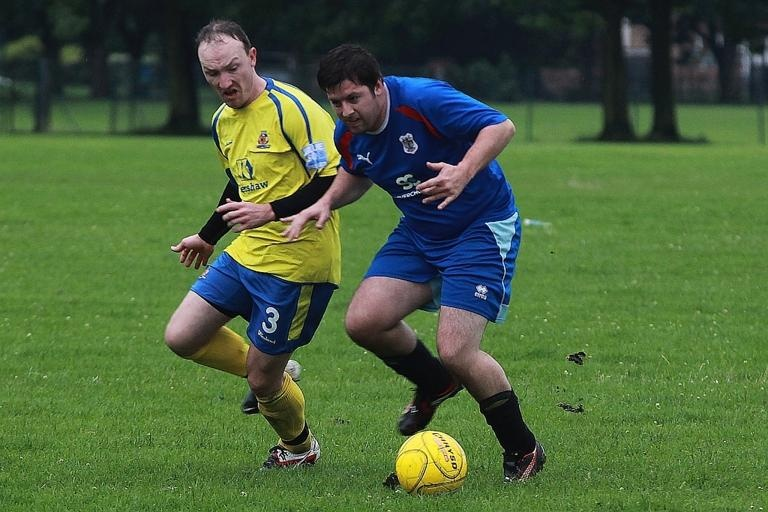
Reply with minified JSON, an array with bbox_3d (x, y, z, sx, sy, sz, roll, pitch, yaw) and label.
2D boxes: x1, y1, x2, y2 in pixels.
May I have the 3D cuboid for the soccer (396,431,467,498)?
[{"bbox_3d":[0.438,1.991,11.917,0.567,0.537,0.529,-3,-36,1],"label":"soccer"}]

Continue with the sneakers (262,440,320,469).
[{"bbox_3d":[-0.885,1.901,12.296,0.628,0.272,0.206,-4,-1,-16],"label":"sneakers"}]

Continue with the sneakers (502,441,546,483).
[{"bbox_3d":[1.313,1.885,11.918,0.183,0.530,0.243,12,-3,28],"label":"sneakers"}]
